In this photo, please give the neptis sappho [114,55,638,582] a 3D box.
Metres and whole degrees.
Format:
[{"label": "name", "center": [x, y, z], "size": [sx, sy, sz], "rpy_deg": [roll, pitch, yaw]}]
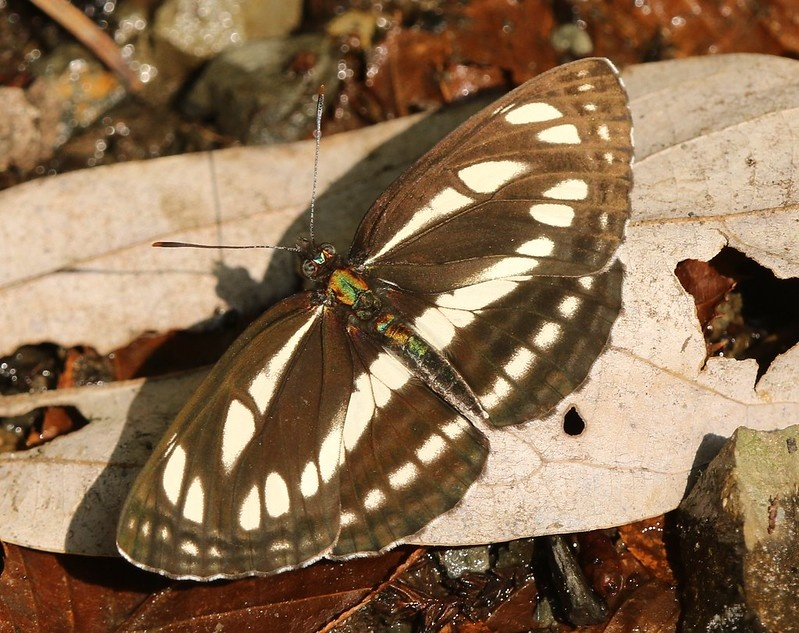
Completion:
[{"label": "neptis sappho", "center": [-0.117, -0.465, 6.886], "size": [4.682, 4.347, 2.706], "rpy_deg": [1, -65, -11]}]
